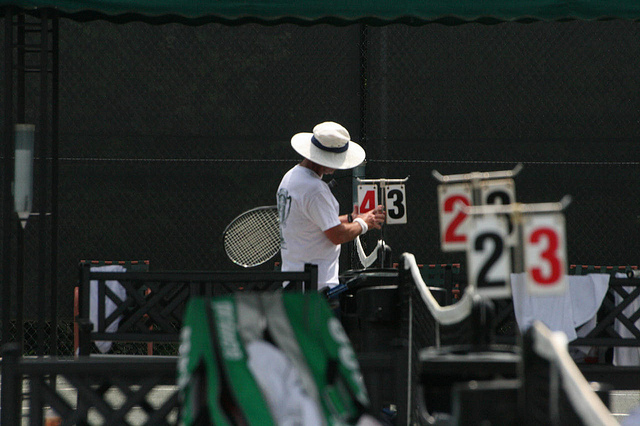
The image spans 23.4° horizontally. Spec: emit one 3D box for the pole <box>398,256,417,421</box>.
[{"bbox_3d":[1.020,1.413,17.737,0.180,1.491,0.318,1,8,11],"label":"pole"}]

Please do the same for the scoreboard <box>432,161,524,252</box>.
[{"bbox_3d":[1.797,-0.064,17.475,1.012,1.092,0.126,-3,-19,6],"label":"scoreboard"}]

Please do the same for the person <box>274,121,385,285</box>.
[{"bbox_3d":[0.042,-0.127,18.410,1.071,1.918,0.477,-1,-2,-2],"label":"person"}]

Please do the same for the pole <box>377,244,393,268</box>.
[{"bbox_3d":[0.819,0.520,19.400,0.177,0.284,0.431,-1,-2,0],"label":"pole"}]

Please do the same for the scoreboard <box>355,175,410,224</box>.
[{"bbox_3d":[0.775,-0.174,19.582,0.610,0.577,0.071,0,-10,0],"label":"scoreboard"}]
